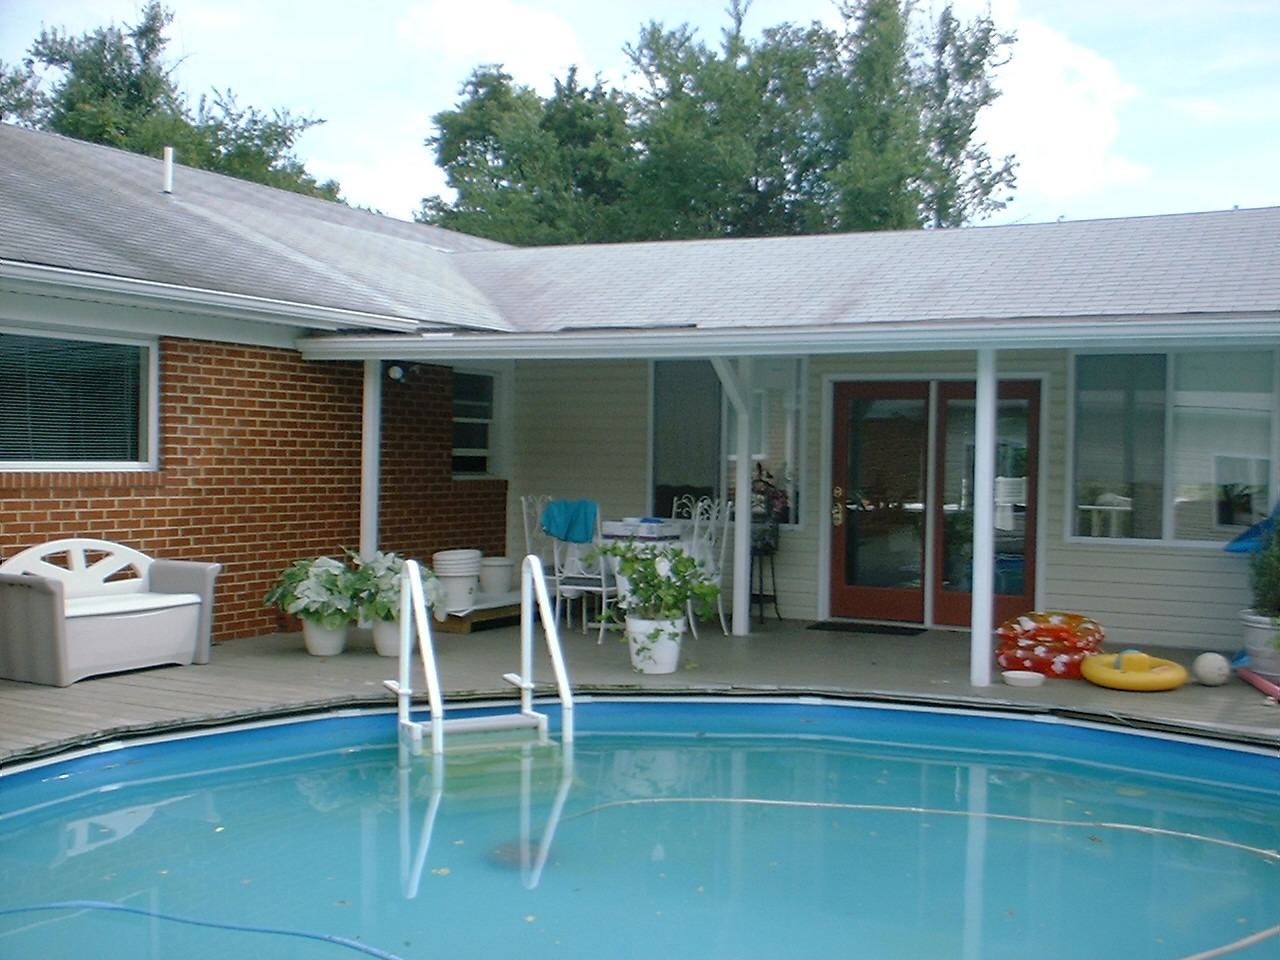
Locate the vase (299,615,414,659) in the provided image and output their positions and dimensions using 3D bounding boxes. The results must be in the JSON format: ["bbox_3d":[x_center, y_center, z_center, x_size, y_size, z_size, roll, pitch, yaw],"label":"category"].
[{"bbox_3d":[-2.500,1.386,9.075,0.670,0.237,0.437,-1,-5,3],"label":"vase"}]

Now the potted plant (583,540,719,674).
[{"bbox_3d":[0.149,1.079,9.085,1.026,1.151,1.195,-2,-3,12],"label":"potted plant"}]

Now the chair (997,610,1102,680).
[{"bbox_3d":[3.427,1.355,8.649,0.587,0.279,0.603,-3,-4,43],"label":"chair"}]

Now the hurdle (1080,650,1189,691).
[{"bbox_3d":[3.827,1.494,8.114,0.449,0.133,0.446,-2,0,-4],"label":"hurdle"}]

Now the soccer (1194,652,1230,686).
[{"bbox_3d":[4.570,1.511,8.276,0.229,0.248,0.339,6,11,31],"label":"soccer"}]

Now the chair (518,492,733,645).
[{"bbox_3d":[-0.316,0.880,10.504,1.576,1.073,1.708,-1,1,21],"label":"chair"}]

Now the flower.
[{"bbox_3d":[-2.452,0.787,9.150,0.997,0.362,0.872,2,8,15],"label":"flower"}]

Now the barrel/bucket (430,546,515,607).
[{"bbox_3d":[-1.758,1.021,10.849,0.541,0.298,0.713,1,3,20],"label":"barrel/bucket"}]
